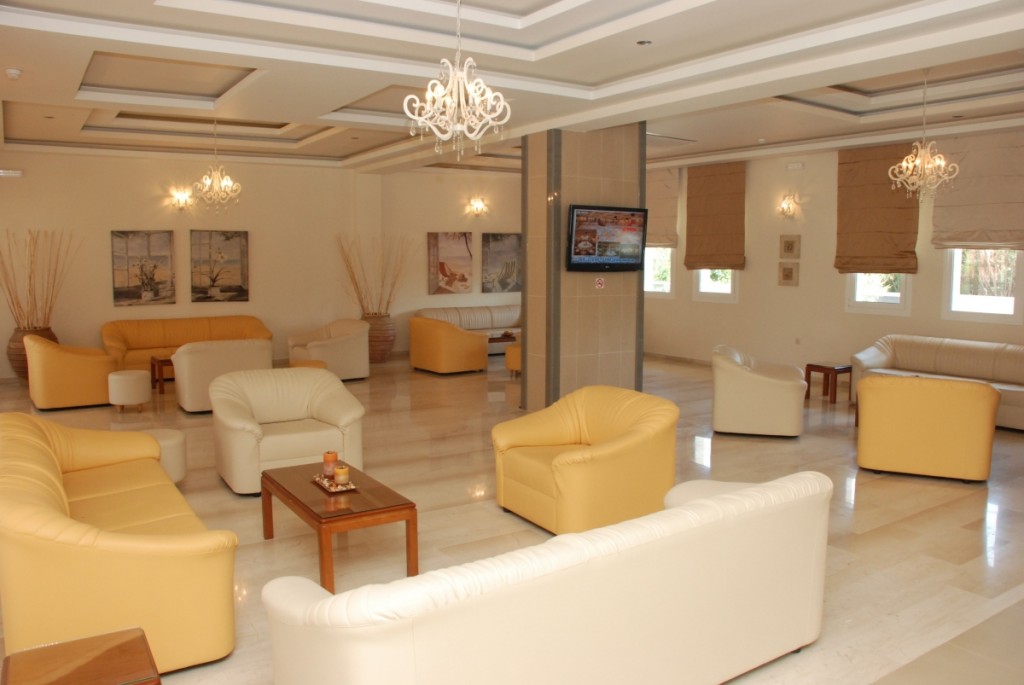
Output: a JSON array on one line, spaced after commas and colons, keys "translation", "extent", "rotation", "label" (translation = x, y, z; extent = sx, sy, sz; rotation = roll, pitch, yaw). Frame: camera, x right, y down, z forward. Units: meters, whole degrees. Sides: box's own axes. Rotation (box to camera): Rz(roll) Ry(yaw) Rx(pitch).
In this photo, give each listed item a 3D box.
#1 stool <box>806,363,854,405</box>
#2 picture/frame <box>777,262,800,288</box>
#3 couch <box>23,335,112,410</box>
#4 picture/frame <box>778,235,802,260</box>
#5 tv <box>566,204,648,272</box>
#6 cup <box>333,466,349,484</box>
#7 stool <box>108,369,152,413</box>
[{"translation": [4.682, 0.606, 10.067], "extent": [0.488, 0.476, 0.478], "rotation": [-9, 12, -32], "label": "stool"}, {"translation": [4.647, -1.151, 11.493], "extent": [0.039, 0.473, 0.437], "rotation": [1, -7, -39], "label": "picture/frame"}, {"translation": [-6.073, 0.277, 9.540], "extent": [1.062, 1.026, 1.089], "rotation": [-3, 7, -36], "label": "couch"}, {"translation": [4.647, -1.592, 11.418], "extent": [0.033, 0.437, 0.429], "rotation": [1, 3, -36], "label": "picture/frame"}, {"translation": [1.214, -1.323, 8.769], "extent": [1.217, 0.824, 0.167], "rotation": [-5, 9, -32], "label": "tv"}, {"translation": [-1.254, 0.977, 5.079], "extent": [0.122, 0.109, 0.119], "rotation": [1, -2, 0], "label": "cup"}, {"translation": [-5.035, 0.625, 9.056], "extent": [0.460, 0.532, 0.511], "rotation": [-7, 9, -36], "label": "stool"}]
